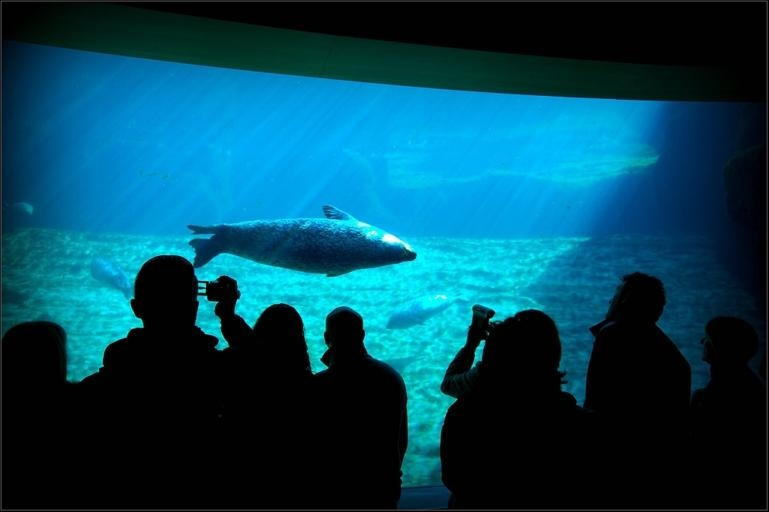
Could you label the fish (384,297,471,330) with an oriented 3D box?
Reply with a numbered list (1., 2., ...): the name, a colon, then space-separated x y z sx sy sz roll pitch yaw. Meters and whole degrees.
1. fish: 1.538 2.292 25.664 2.743 0.633 1.259 -14 18 -11
